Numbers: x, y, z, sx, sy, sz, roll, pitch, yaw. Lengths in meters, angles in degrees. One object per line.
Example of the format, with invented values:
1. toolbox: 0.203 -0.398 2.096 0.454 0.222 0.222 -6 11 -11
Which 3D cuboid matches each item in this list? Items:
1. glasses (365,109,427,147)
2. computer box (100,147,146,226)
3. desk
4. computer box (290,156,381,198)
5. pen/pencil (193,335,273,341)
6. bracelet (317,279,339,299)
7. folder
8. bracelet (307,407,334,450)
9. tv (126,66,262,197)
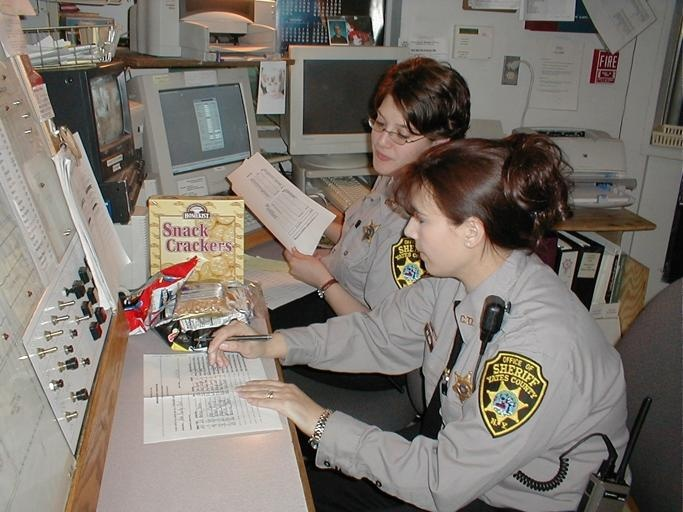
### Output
1. glasses: 0.166 -0.429 1.534 0.140 0.046 0.134 9 18 -42
2. computer box: -0.642 -0.201 1.330 0.076 0.093 0.264 -8 25 0
3. desk: 0.150 0.165 1.853 1.698 0.967 0.837 3 -9 -8
4. computer box: -0.067 -0.397 2.210 0.286 0.196 0.383 21 -5 -37
5. pen/pencil: -0.290 0.210 1.179 0.204 0.018 0.016 1 16 -7
6. bracelet: -0.059 0.109 1.646 0.073 0.043 0.066 -43 4 6
7. folder: 1.009 0.060 1.941 0.171 0.283 0.304 4 18 7
8. bracelet: -0.049 0.386 1.035 0.030 0.077 0.059 16 -11 0
9. tv: -0.586 -0.482 1.790 0.282 0.497 0.518 11 19 39
